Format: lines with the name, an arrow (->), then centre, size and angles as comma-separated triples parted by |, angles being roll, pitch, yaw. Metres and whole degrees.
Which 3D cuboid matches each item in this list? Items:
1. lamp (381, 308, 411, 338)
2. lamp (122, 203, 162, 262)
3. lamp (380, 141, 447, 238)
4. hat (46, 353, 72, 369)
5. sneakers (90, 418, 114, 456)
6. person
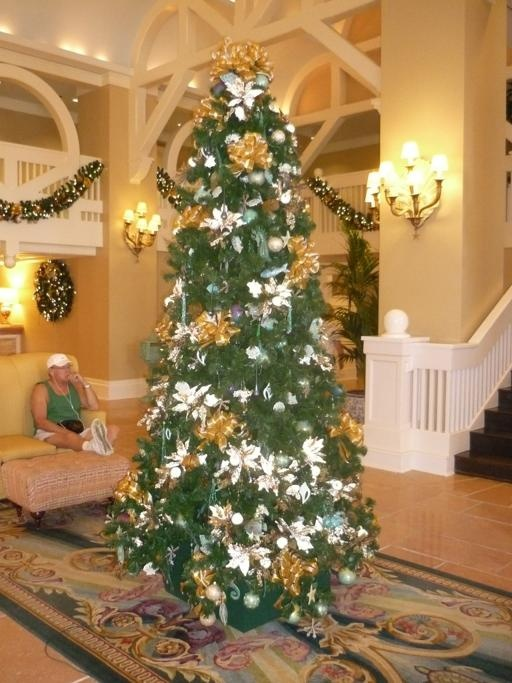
lamp -> 1.233, -0.158, 5.035 | 0.212, 0.253, 0.282 | 0, -1, 13
lamp -> -1.729, -1.663, 8.801 | 0.631, 0.709, 0.272 | 21, 28, 22
lamp -> 1.393, -1.390, 5.133 | 0.362, 0.783, 0.726 | 1, -1, -35
hat -> -1.401, 0.140, 4.012 | 0.144, 0.066, 0.103 | -5, -1, 43
sneakers -> -0.999, 0.610, 3.693 | 0.127, 0.242, 0.285 | 1, -1, -16
person -> -1.218, 0.425, 3.891 | 0.420, 0.645, 0.848 | -2, 6, -43
